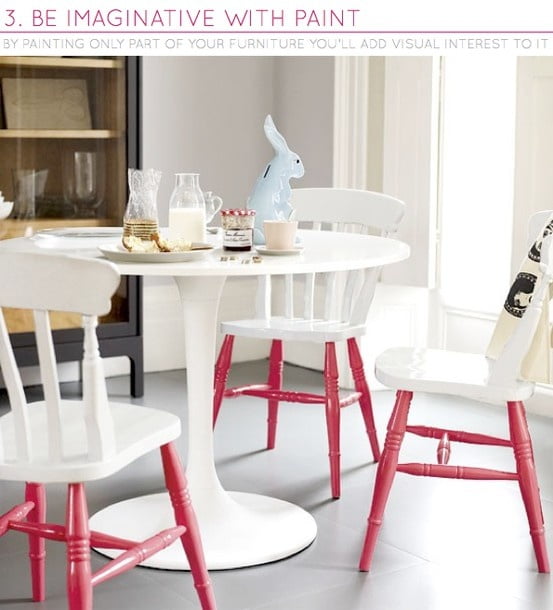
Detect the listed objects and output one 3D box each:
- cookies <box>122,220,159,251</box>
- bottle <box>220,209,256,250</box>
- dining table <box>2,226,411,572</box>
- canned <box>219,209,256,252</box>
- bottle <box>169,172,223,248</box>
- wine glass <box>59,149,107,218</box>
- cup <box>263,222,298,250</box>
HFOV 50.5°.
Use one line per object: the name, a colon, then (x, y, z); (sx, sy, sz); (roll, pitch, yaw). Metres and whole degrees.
cookies: (-0.277, -0.143, 1.202); (0.064, 0.070, 0.066); (6, 11, 22)
bottle: (-0.085, -0.166, 1.280); (0.073, 0.090, 0.073); (-7, 16, -35)
dining table: (-0.105, 0.248, 1.329); (0.736, 0.643, 0.789); (-1, 8, -8)
canned: (-0.083, -0.169, 1.274); (0.070, 0.091, 0.073); (11, 20, 32)
bottle: (-0.179, -0.210, 1.334); (0.140, 0.174, 0.088); (-1, 4, -22)
wine glass: (-0.875, -0.595, 2.649); (0.197, 0.339, 0.199); (-20, 48, -37)
cup: (0.009, -0.147, 1.207); (0.060, 0.051, 0.051); (-7, 13, -19)
